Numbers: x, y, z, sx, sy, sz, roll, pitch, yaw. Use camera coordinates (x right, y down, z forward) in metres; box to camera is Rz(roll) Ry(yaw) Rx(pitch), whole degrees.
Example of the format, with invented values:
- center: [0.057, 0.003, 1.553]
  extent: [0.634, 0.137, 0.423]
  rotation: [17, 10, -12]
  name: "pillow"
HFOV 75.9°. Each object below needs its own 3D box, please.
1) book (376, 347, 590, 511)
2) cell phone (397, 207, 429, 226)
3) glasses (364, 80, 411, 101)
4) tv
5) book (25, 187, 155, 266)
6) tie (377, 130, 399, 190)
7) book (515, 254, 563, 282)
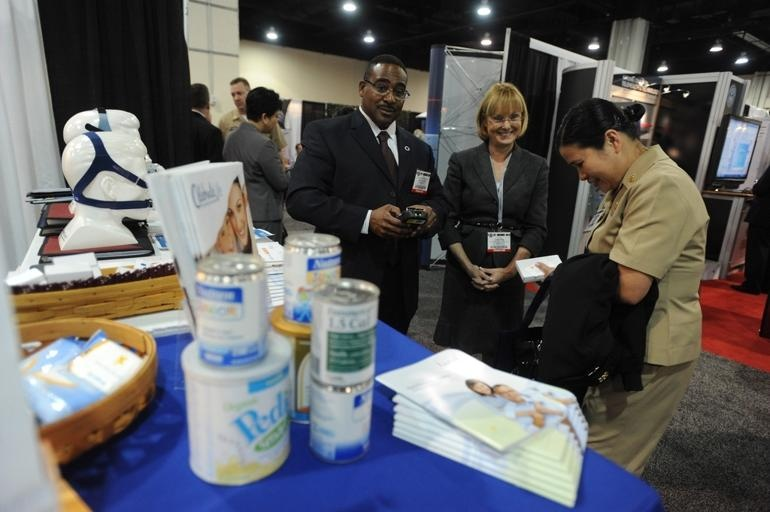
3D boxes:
- center: [0.309, 0.439, 1.474]
  extent: [0.418, 0.139, 0.410]
  rotation: [11, 17, 29]
  name: "book"
- center: [0.138, -0.193, 2.409]
  extent: [0.137, 0.104, 0.088]
  rotation: [2, 22, 1]
  name: "cell phone"
- center: [0.010, -0.880, 2.575]
  extent: [0.245, 0.100, 0.162]
  rotation: [-1, 24, -7]
  name: "glasses"
- center: [4.285, -1.301, 6.087]
  extent: [1.053, 0.790, 0.157]
  rotation: [-20, 28, -33]
  name: "tv"
- center: [-1.394, -0.268, 2.293]
  extent: [0.386, 0.141, 0.572]
  rotation: [-12, 28, -39]
  name: "book"
- center: [0.018, -0.539, 2.637]
  extent: [0.073, 0.358, 0.086]
  rotation: [-6, -5, -13]
  name: "tie"
- center: [0.786, 0.050, 2.605]
  extent: [0.204, 0.045, 0.147]
  rotation: [-8, 35, -8]
  name: "book"
